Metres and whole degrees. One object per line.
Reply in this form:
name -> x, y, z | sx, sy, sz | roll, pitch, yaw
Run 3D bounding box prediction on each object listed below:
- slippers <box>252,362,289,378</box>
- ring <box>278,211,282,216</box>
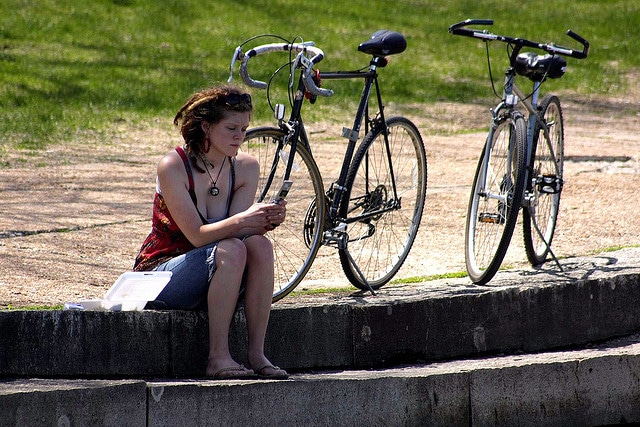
slippers -> -0.594, 1.866, 17.865 | 0.425, 0.107, 0.164 | -1, -1, 33
ring -> -0.495, 0.012, 18.057 | 0.058, 0.053, 0.021 | 2, -1, -29
